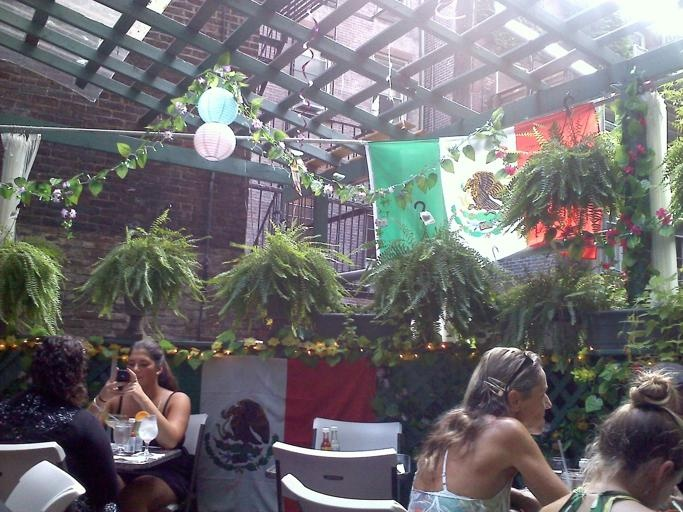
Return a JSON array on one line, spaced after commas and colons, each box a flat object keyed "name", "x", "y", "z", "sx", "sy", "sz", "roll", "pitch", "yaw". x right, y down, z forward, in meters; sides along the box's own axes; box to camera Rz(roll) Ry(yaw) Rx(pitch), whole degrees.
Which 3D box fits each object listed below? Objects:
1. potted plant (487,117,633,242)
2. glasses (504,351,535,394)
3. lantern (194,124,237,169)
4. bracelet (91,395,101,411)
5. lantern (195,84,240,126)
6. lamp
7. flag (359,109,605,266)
[{"name": "potted plant", "x": 1.400, "y": -0.419, "z": 3.982, "sx": 0.718, "sy": 0.723, "sz": 0.720, "roll": 1, "pitch": 1, "yaw": 25}, {"name": "glasses", "x": 0.823, "y": 0.536, "z": 2.959, "sx": 0.072, "sy": 0.178, "sz": 0.117, "roll": 35, "pitch": 4, "yaw": -11}, {"name": "lantern", "x": -0.981, "y": -0.838, "z": 4.855, "sx": 0.298, "sy": 0.312, "sz": 0.300, "roll": 2, "pitch": 8, "yaw": 25}, {"name": "bracelet", "x": -1.764, "y": 1.052, "z": 4.542, "sx": 0.087, "sy": 0.092, "sz": 0.098, "roll": 3, "pitch": 2, "yaw": 7}, {"name": "lantern", "x": -0.941, "y": -1.156, "z": 4.857, "sx": 0.282, "sy": 0.295, "sz": 0.268, "roll": 0, "pitch": 20, "yaw": -22}, {"name": "lamp", "x": -0.977, "y": -1.022, "z": 4.919, "sx": 0.291, "sy": 0.587, "sz": 0.305, "roll": -1, "pitch": -4, "yaw": 31}, {"name": "flag", "x": 1.181, "y": -0.537, "z": 5.663, "sx": 1.843, "sy": 1.144, "sz": 0.130, "roll": -6, "pitch": 9, "yaw": 27}]
